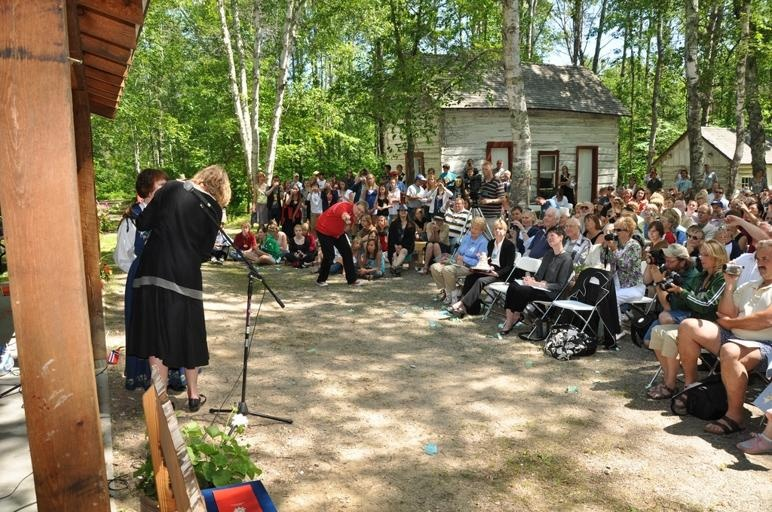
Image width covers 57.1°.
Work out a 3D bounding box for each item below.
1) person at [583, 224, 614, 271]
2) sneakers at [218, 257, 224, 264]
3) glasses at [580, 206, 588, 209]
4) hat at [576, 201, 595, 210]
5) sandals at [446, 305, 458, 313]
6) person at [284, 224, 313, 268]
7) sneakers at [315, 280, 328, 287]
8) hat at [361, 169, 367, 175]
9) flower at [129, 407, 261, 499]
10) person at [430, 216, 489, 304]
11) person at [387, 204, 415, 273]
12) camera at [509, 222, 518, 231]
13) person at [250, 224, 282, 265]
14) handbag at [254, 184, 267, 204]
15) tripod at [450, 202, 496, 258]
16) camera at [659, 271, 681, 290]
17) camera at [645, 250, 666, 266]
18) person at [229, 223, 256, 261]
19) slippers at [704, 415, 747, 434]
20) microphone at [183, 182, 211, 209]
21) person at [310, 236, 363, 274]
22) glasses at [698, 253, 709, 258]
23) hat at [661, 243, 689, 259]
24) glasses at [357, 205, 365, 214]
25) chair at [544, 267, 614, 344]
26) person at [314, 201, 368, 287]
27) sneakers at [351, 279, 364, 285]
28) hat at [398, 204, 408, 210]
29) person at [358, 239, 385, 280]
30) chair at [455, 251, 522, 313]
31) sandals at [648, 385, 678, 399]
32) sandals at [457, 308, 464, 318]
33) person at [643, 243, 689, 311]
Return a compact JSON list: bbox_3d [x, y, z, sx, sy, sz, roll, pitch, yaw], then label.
[{"bbox_3d":[3.325,-0.139,10.995,0.690,0.744,0.577,0,1,14],"label":"person"},{"bbox_3d":[-3.915,0.109,16.857,0.132,0.123,0.131,4,-8,-24],"label":"sneakers"},{"bbox_3d":[3.600,-0.873,12.892,0.033,0.064,0.123,-3,11,-18],"label":"glasses"},{"bbox_3d":[3.654,-0.887,13.008,0.255,0.129,0.326,0,3,24],"label":"hat"},{"bbox_3d":[1.095,0.872,11.712,0.119,0.135,0.347,3,0,-4],"label":"sandals"},{"bbox_3d":[-2.069,-0.249,16.376,0.677,0.937,0.745,1,5,-25],"label":"person"},{"bbox_3d":[-1.285,0.542,13.919,0.100,0.097,0.227,7,-5,-42],"label":"sneakers"},{"bbox_3d":[-0.582,-2.214,18.839,0.205,0.171,0.230,-1,5,1],"label":"hat"},{"bbox_3d":[-1.761,1.869,6.739,0.829,0.403,1.103,-6,12,-40],"label":"flower"},{"bbox_3d":[1.276,0.076,12.521,0.875,1.393,0.621,2,11,-14],"label":"person"},{"bbox_3d":[0.337,-0.348,15.244,0.609,1.404,0.910,1,11,-1],"label":"person"},{"bbox_3d":[2.385,-0.554,13.217,0.125,0.135,0.151,-38,9,-7],"label":"camera"},{"bbox_3d":[-2.900,-0.226,16.762,0.754,0.927,0.679,1,10,4],"label":"person"},{"bbox_3d":[-3.290,-1.637,18.790,0.300,0.494,0.197,-1,11,-9],"label":"handbag"},{"bbox_3d":[1.925,-0.610,14.406,0.951,1.276,0.983,-1,-2,0],"label":"tripod"},{"bbox_3d":[3.645,0.305,9.110,0.232,0.141,0.211,-11,17,-27],"label":"camera"},{"bbox_3d":[3.784,0.019,10.019,0.221,0.298,0.293,-2,14,16],"label":"camera"},{"bbox_3d":[-3.334,-0.361,16.657,0.619,0.847,0.613,20,25,37],"label":"person"},{"bbox_3d":[3.738,1.847,7.821,0.372,0.121,0.183,0,1,-5],"label":"slippers"},{"bbox_3d":[-2.009,-0.662,7.524,0.266,0.272,0.118,-3,12,-19],"label":"microphone"},{"bbox_3d":[-0.878,-0.014,15.092,0.726,0.974,0.320,2,-33,-3],"label":"person"},{"bbox_3d":[3.992,-0.007,8.911,0.103,0.028,0.072,-4,-4,-36],"label":"glasses"},{"bbox_3d":[3.889,-0.061,9.491,0.271,0.107,0.182,6,8,5],"label":"hat"},{"bbox_3d":[-0.478,-0.857,13.000,0.105,0.139,0.104,29,6,43],"label":"glasses"},{"bbox_3d":[2.847,0.700,10.103,0.779,0.997,0.732,-13,17,-40],"label":"chair"},{"bbox_3d":[-0.828,-0.224,13.607,0.765,1.671,1.187,-7,14,-37],"label":"person"},{"bbox_3d":[-0.574,0.526,13.991,0.268,0.114,0.091,-6,12,11],"label":"sneakers"},{"bbox_3d":[0.362,-1.087,15.793,0.264,0.144,0.370,2,-4,-1],"label":"hat"},{"bbox_3d":[-0.298,0.067,14.724,0.682,0.830,0.653,5,9,41],"label":"person"},{"bbox_3d":[1.778,0.445,11.798,0.549,0.891,0.675,25,-5,11],"label":"chair"},{"bbox_3d":[3.344,1.627,8.578,0.304,0.111,0.168,-1,1,-14],"label":"sandals"},{"bbox_3d":[1.223,0.932,11.585,0.125,0.113,0.208,0,-7,4],"label":"sandals"},{"bbox_3d":[3.817,0.271,9.705,0.386,0.857,0.649,3,6,-3],"label":"person"}]
